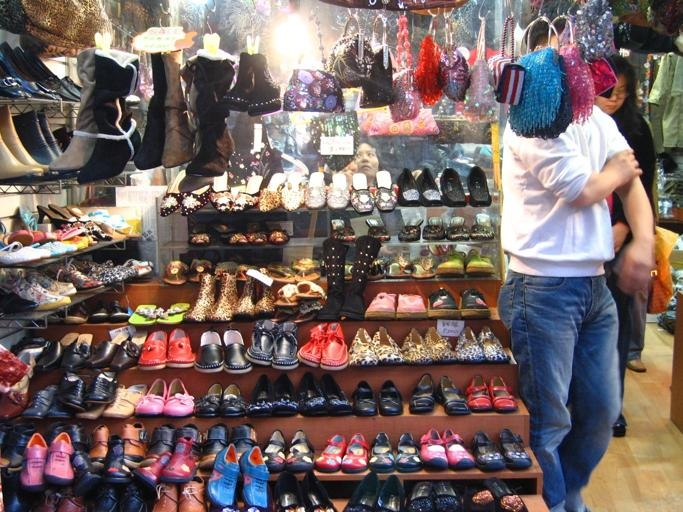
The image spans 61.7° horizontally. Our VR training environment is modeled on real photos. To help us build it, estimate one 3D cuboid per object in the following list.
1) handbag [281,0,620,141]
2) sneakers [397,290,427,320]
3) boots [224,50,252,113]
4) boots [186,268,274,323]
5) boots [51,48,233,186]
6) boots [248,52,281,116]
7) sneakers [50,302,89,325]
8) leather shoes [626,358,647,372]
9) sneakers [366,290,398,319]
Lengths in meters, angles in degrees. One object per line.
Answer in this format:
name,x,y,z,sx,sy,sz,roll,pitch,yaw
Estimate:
handbag,0.233,-0.918,2.883,1.940,0.795,0.565,4,19,12
sneakers,0.409,0.304,3.432,0.150,0.105,0.271,0,-2,3
boots,-0.517,-0.887,2.894,0.125,0.266,0.278,-4,20,-28
boots,-0.681,0.250,3.479,0.302,0.165,0.453,-1,4,4
boots,-0.997,-0.645,2.622,0.503,0.483,0.660,-1,15,-6
boots,-0.406,-0.860,2.879,0.171,0.282,0.174,-6,10,-8
sneakers,-1.629,0.355,3.423,0.095,0.072,0.239,1,1,-6
leather shoes,2.255,0.844,4.365,0.065,0.070,0.174,0,-3,-5
sneakers,0.236,0.301,3.433,0.123,0.114,0.339,-2,-5,7
